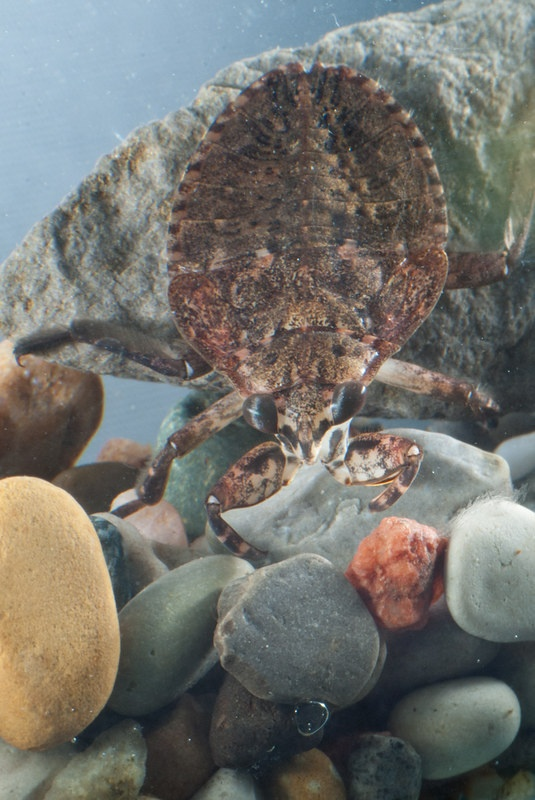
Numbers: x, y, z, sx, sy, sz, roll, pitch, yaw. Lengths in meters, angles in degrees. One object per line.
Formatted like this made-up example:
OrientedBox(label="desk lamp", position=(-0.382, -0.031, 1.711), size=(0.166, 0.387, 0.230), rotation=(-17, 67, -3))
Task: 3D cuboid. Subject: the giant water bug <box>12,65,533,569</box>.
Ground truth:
OrientedBox(label="giant water bug", position=(0.054, -0.199, 1.895), size=(0.918, 0.670, 0.260), rotation=(1, 23, -2))
